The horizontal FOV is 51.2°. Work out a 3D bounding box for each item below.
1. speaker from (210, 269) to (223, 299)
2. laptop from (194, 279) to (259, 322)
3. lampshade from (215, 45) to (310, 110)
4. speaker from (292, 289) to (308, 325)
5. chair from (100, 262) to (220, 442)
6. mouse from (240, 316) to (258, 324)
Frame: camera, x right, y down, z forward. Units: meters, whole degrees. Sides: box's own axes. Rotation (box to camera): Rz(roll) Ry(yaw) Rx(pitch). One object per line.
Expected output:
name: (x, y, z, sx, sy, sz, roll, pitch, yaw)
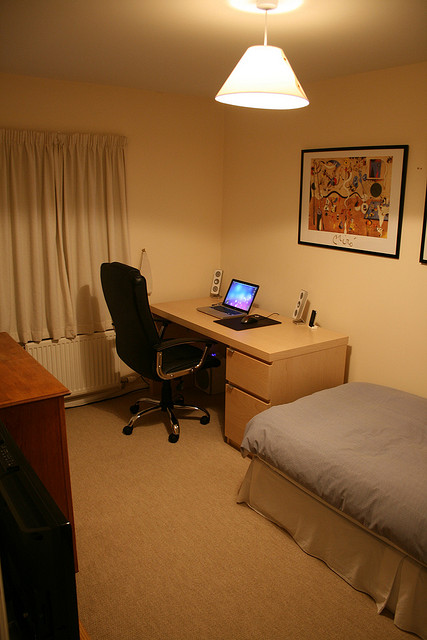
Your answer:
speaker: (0.024, -0.322, 4.014, 0.103, 0.244, 0.136, 5, 12, 22)
laptop: (0.091, -0.241, 3.485, 0.353, 0.251, 0.362, -11, 20, -31)
lampshade: (0.181, -0.872, 1.621, 0.327, 0.190, 0.360, 7, 21, 14)
speaker: (0.640, -0.091, 3.254, 0.152, 0.238, 0.073, -10, 15, -43)
chair: (-0.411, 0.183, 3.214, 0.773, 1.227, 0.863, -6, 13, -29)
mouse: (0.245, -0.004, 3.182, 0.097, 0.037, 0.052, -4, 12, -43)
